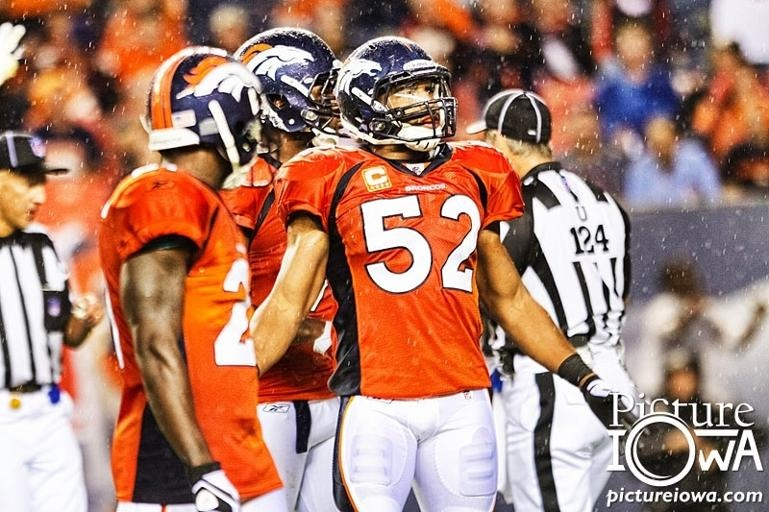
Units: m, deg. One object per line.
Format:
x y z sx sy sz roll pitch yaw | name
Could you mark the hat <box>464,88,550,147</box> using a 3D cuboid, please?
0.743 -0.843 6.509 0.494 0.360 0.290 13 99 31 | hat
